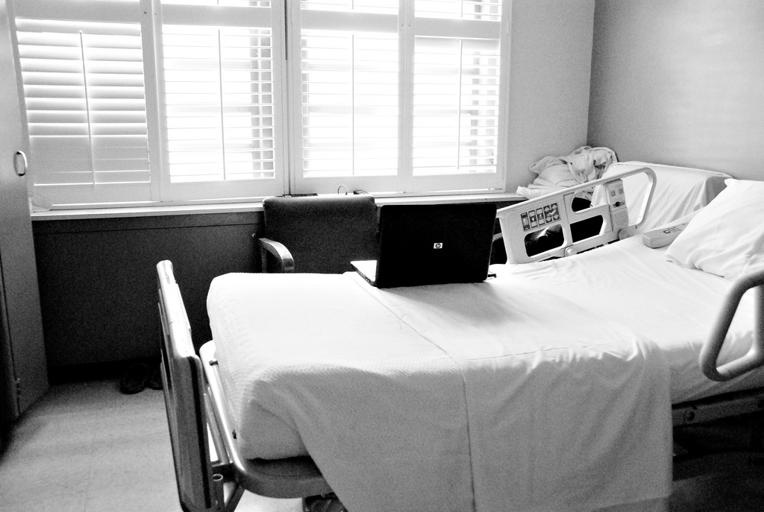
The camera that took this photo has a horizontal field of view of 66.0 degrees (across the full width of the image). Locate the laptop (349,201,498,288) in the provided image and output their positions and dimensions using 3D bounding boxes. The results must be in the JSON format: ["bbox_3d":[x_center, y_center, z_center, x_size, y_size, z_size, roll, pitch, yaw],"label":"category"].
[{"bbox_3d":[0.169,-0.075,2.530,0.547,0.348,0.463,-4,13,-26],"label":"laptop"}]
